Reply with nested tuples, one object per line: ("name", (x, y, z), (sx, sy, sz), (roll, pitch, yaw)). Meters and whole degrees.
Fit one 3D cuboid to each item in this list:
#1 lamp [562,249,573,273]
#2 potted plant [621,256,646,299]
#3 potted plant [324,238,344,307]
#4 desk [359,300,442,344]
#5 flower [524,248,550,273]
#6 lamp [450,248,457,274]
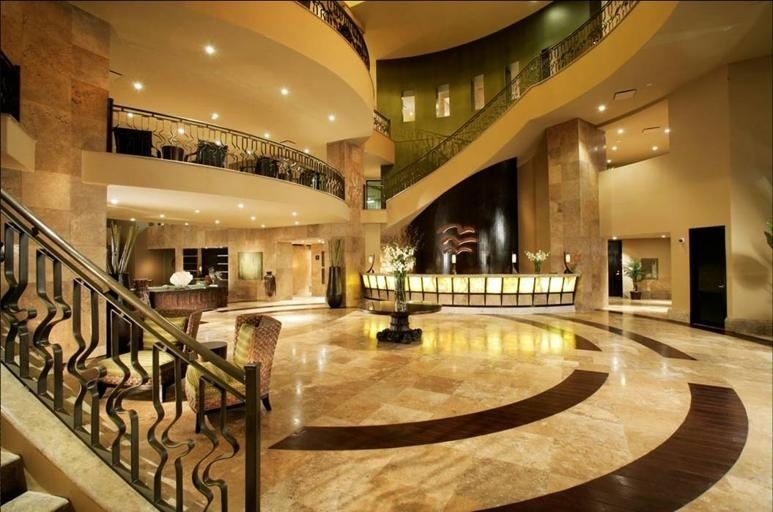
("lamp", (4.759, 0.169, 13.248), (0.139, 0.485, 0.357), (0, -4, 38))
("potted plant", (8.326, 0.698, 17.058), (0.438, 1.345, 0.789), (-3, 14, -13))
("potted plant", (-1.487, 0.484, 14.685), (0.530, 1.903, 1.068), (-1, 14, -6))
("desk", (0.248, 1.313, 9.694), (1.402, 0.605, 1.438), (1, -1, 28))
("flower", (4.006, 0.095, 13.969), (0.822, 0.822, 0.841), (-3, -1, 28))
("lamp", (2.169, 0.169, 16.257), (0.217, 0.758, 0.269), (2, 14, 7))
